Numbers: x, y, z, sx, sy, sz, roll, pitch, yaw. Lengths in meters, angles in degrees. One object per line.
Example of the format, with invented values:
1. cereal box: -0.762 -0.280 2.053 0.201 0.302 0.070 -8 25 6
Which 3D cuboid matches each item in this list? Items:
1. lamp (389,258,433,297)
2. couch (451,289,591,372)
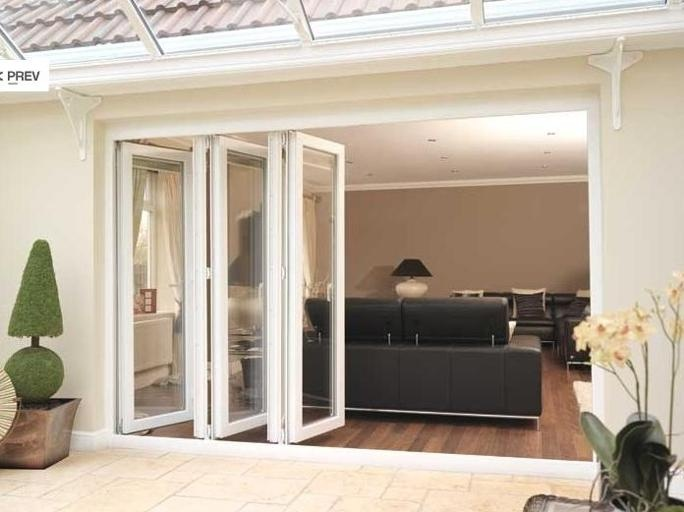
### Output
1. lamp: 1.221 0.408 10.038 0.764 0.737 0.756 4 -6 -22
2. couch: 2.151 0.868 6.749 1.287 0.516 1.156 0 -3 22
